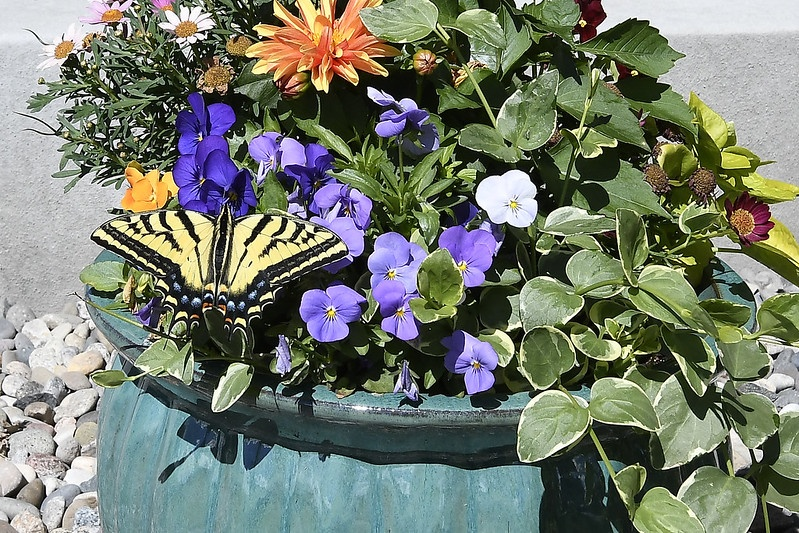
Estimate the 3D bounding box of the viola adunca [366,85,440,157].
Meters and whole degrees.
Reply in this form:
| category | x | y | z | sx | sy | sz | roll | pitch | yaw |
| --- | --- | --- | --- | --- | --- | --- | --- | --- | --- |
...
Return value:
| category | x | y | z | sx | sy | sz | roll | pitch | yaw |
| --- | --- | --- | --- | --- | --- | --- | --- | --- | --- |
| viola adunca | 0.014 | -0.269 | 1.453 | 0.107 | 0.125 | 0.167 | 0 | 7 | 13 |

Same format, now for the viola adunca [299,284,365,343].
| category | x | y | z | sx | sy | sz | roll | pitch | yaw |
| --- | --- | --- | --- | --- | --- | --- | --- | --- | --- |
| viola adunca | -0.117 | 0.090 | 1.355 | 0.113 | 0.110 | 0.067 | -3 | 7 | -6 |

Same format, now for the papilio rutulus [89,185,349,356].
| category | x | y | z | sx | sy | sz | roll | pitch | yaw |
| --- | --- | --- | --- | --- | --- | --- | --- | --- | --- |
| papilio rutulus | -0.307 | 0.015 | 1.364 | 0.464 | 0.254 | 0.082 | -1 | 7 | 12 |

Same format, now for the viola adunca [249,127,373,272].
| category | x | y | z | sx | sy | sz | roll | pitch | yaw |
| --- | --- | --- | --- | --- | --- | --- | --- | --- | --- |
| viola adunca | -0.147 | -0.141 | 1.478 | 0.181 | 0.285 | 0.133 | -31 | -12 | 8 |
